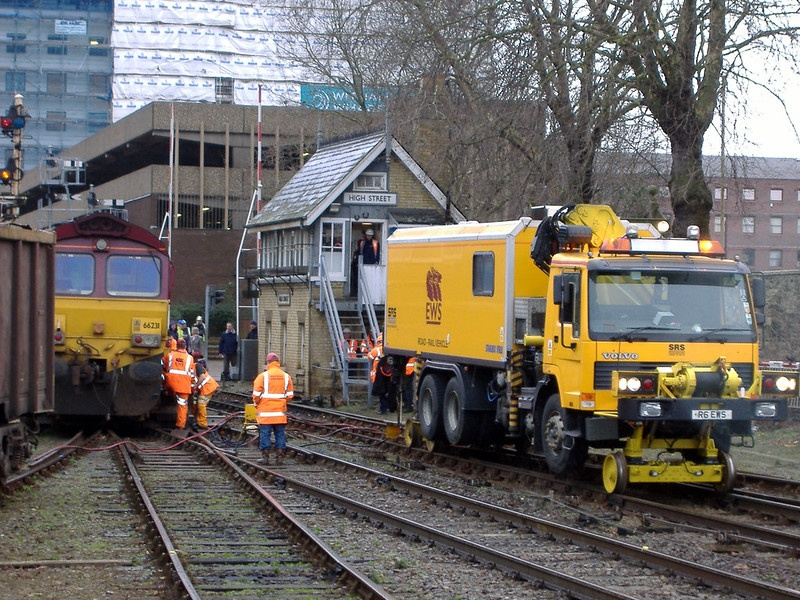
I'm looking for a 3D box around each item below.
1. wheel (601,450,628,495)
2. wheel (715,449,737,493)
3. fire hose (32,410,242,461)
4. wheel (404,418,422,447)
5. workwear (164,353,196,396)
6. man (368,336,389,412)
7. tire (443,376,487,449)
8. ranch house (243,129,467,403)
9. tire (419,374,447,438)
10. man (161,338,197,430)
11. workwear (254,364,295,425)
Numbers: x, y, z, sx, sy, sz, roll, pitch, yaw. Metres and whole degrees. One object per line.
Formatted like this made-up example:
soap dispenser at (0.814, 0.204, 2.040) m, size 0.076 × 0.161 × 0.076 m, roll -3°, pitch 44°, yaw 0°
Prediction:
wheel at (3.386, 2.747, 18.506) m, size 0.291 × 0.675 × 0.512 m, roll -1°, pitch 1°, yaw -11°
wheel at (5.122, 2.743, 18.554) m, size 0.277 × 0.644 × 0.246 m, roll -1°, pitch 1°, yaw 9°
fire hose at (-5.660, 2.896, 24.875) m, size 1.203 × 0.280 × 11.154 m, roll 0°, pitch 0°, yaw -3°
wheel at (0.236, 2.805, 24.937) m, size 0.466 × 0.505 × 0.431 m, roll 0°, pitch 10°, yaw 0°
workwear at (-4.906, 1.635, 26.014) m, size 0.638 × 0.992 × 0.574 m, roll 12°, pitch -20°, yaw -31°
man at (-0.577, 1.882, 30.450) m, size 0.547 × 2.013 × 0.712 m, roll 12°, pitch -15°, yaw -33°
tire at (1.231, 2.107, 22.312) m, size 0.423 × 1.319 × 1.270 m, roll 1°, pitch 6°, yaw -12°
ranch house at (-1.234, -0.876, 33.467) m, size 3.835 × 6.401 × 8.801 m, roll -1°, pitch 2°, yaw -20°
tire at (0.668, 2.121, 23.509) m, size 0.300 × 0.980 × 0.979 m, roll 4°, pitch -24°, yaw -15°
man at (-4.859, 1.833, 26.129) m, size 0.661 × 2.030 × 0.652 m, roll 12°, pitch 15°, yaw 22°
workwear at (-2.427, 2.106, 22.300) m, size 0.718 × 1.926 × 0.563 m, roll 5°, pitch -20°, yaw -17°
